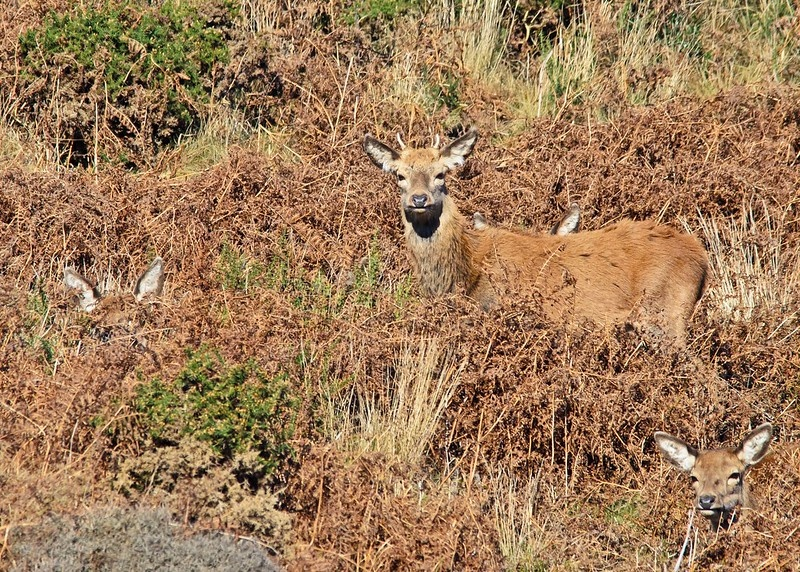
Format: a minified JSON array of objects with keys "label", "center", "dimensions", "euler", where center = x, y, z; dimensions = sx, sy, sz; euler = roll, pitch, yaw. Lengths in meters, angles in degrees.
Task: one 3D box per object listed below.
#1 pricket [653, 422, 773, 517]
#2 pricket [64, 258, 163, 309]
[{"label":"pricket","center":[3.082,1.933,12.504],"dimensions":[0.806,0.962,0.784],"euler":[-13,65,10]},{"label":"pricket","center":[-3.004,0.028,13.733],"dimensions":[1.033,0.507,0.507],"euler":[-10,47,-8]}]
